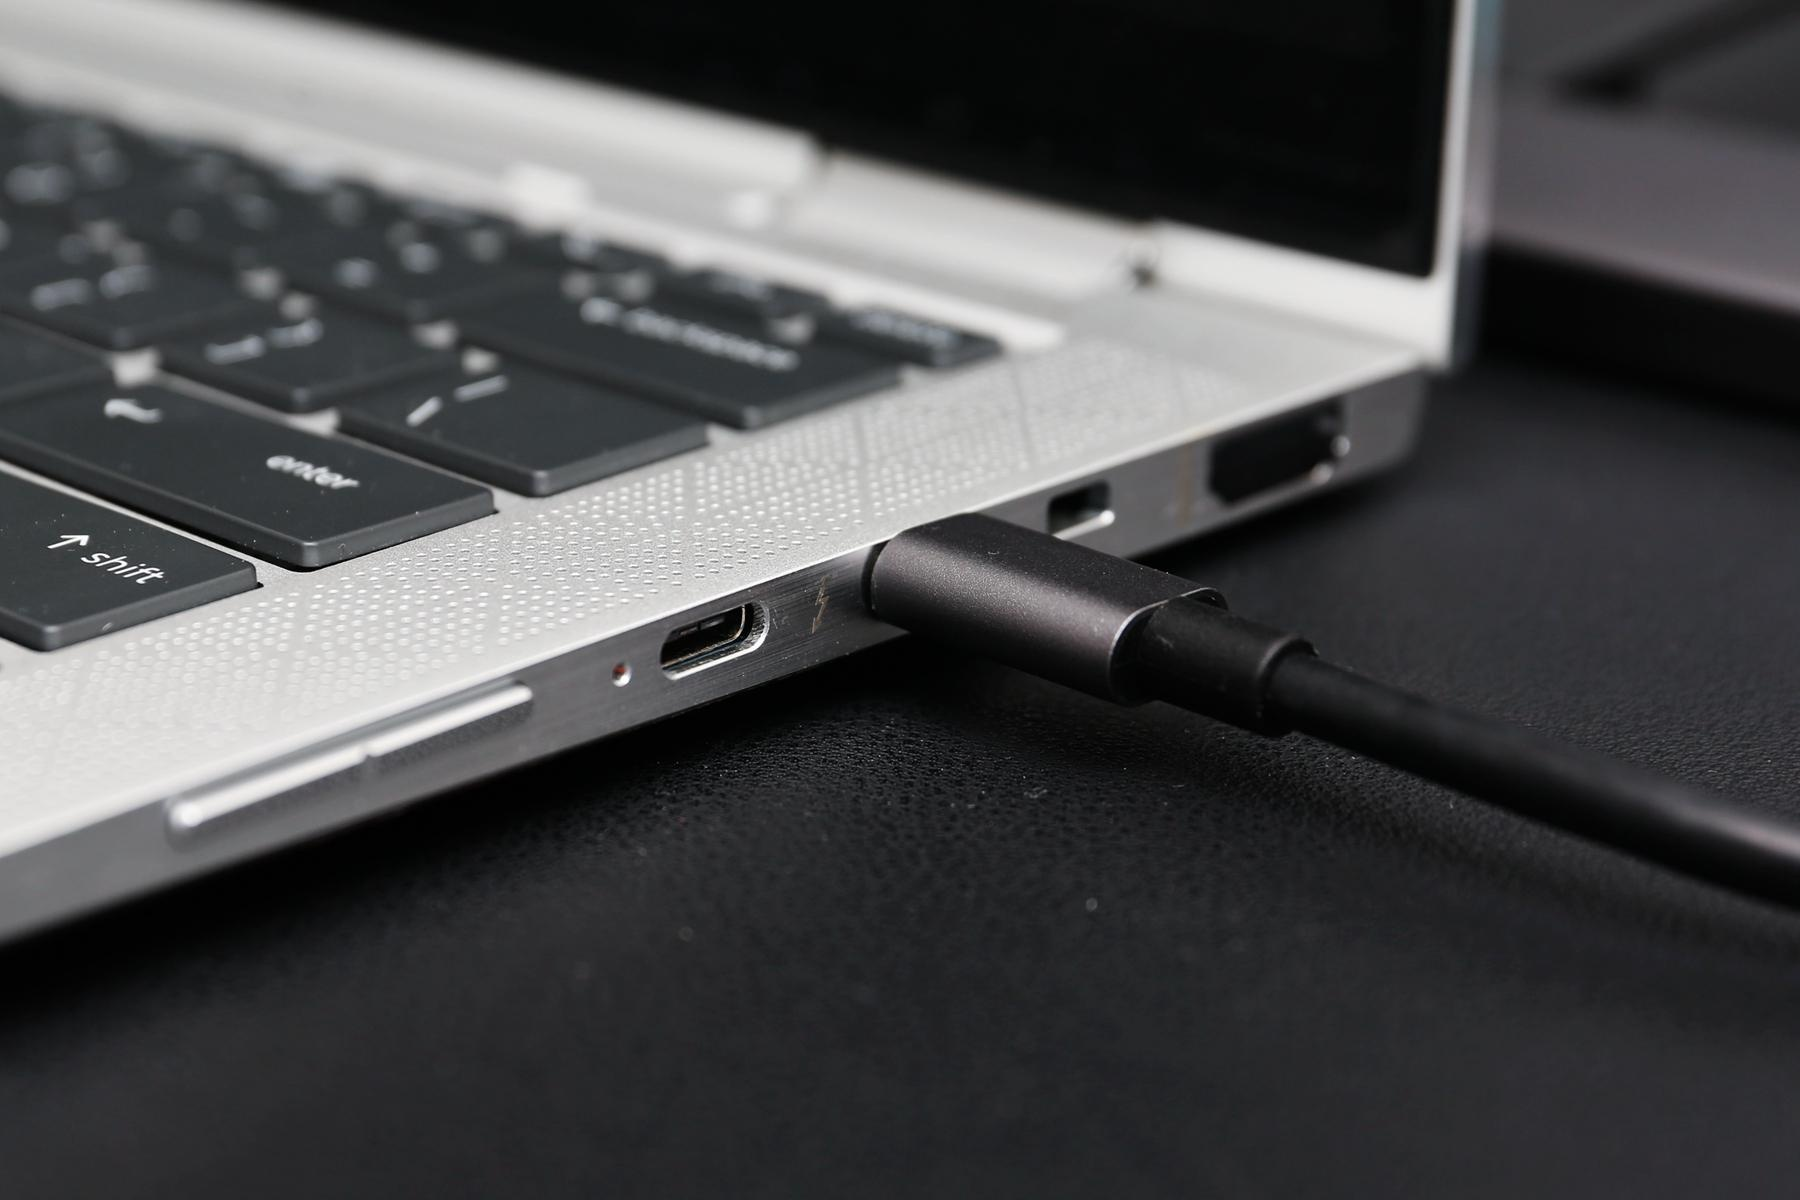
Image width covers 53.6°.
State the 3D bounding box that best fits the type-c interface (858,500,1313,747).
[{"bbox_3d":[0.047,0.004,0.502,0.115,0.030,0.053,21,34,31],"label":"type-c interface"}]
